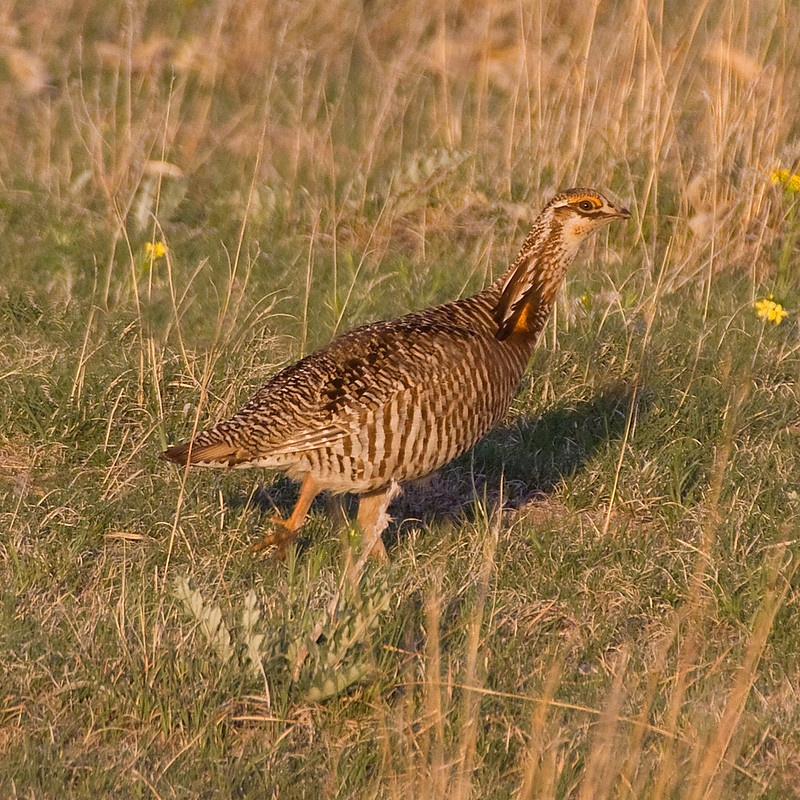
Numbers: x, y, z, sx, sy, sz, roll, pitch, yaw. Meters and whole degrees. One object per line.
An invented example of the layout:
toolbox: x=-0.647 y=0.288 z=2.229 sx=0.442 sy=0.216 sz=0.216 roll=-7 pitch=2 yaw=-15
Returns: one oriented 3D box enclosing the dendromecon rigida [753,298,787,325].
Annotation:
dendromecon rigida: x=1.663 y=-0.395 z=5.464 sx=0.174 sy=0.109 sz=0.201 roll=7 pitch=15 yaw=5
